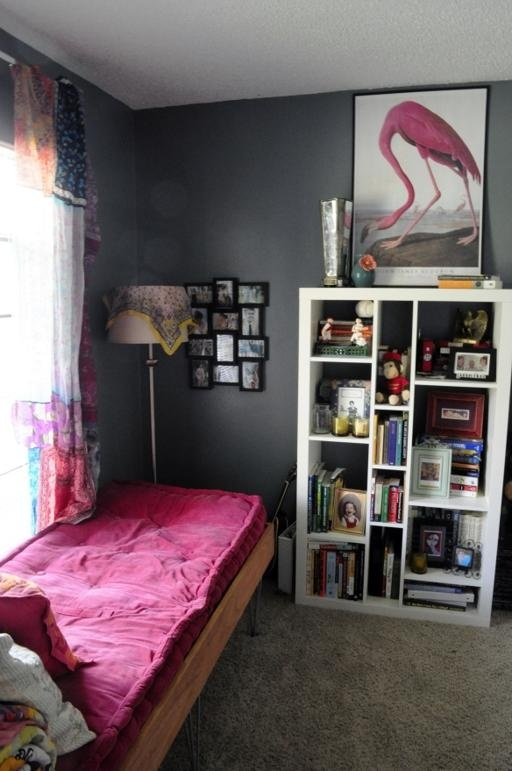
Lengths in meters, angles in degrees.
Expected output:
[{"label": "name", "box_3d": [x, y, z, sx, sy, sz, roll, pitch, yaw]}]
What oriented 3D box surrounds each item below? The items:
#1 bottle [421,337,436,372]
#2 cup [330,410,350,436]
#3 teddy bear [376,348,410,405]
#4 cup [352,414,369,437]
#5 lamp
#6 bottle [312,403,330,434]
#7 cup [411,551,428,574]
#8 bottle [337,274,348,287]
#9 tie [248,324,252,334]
[{"label": "bottle", "box_3d": [0.794, -0.136, 2.655, 0.056, 0.170, 0.115, 1, 10, 10]}, {"label": "cup", "box_3d": [0.386, 0.182, 2.661, 0.071, 0.095, 0.091, 0, 3, 5]}, {"label": "teddy bear", "box_3d": [0.614, -0.036, 2.584, 0.141, 0.226, 0.196, 2, 7, 12]}, {"label": "cup", "box_3d": [0.472, 0.192, 2.637, 0.080, 0.084, 0.060, 5, 8, 28]}, {"label": "lamp", "box_3d": [-0.518, 0.019, 2.854, 0.417, 1.033, 0.564, -1, 7, -12]}, {"label": "bottle", "box_3d": [0.310, 0.151, 2.707, 0.113, 0.186, 0.114, 1, -1, 0]}, {"label": "cup", "box_3d": [0.743, 0.799, 2.644, 0.076, 0.090, 0.076, 2, 3, 0]}, {"label": "bottle", "box_3d": [0.393, -0.465, 2.593, 0.034, 0.057, 0.123, 3, 7, 23]}, {"label": "tie", "box_3d": [-0.026, -0.282, 2.967, 0.029, 0.054, 0.004, 2, 6, 12]}]
